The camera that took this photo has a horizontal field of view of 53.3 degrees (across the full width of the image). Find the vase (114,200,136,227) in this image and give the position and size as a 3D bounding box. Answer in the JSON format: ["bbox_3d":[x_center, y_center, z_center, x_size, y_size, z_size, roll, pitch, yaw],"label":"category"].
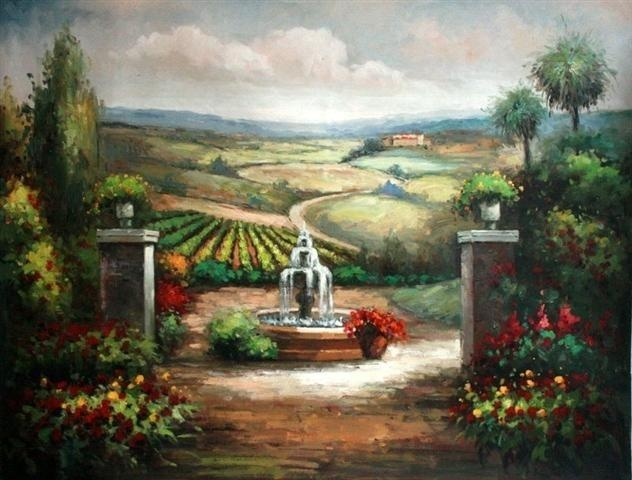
[{"bbox_3d":[-2.000,-0.266,6.578,0.193,0.267,0.244,-2,5,-15],"label":"vase"}]
